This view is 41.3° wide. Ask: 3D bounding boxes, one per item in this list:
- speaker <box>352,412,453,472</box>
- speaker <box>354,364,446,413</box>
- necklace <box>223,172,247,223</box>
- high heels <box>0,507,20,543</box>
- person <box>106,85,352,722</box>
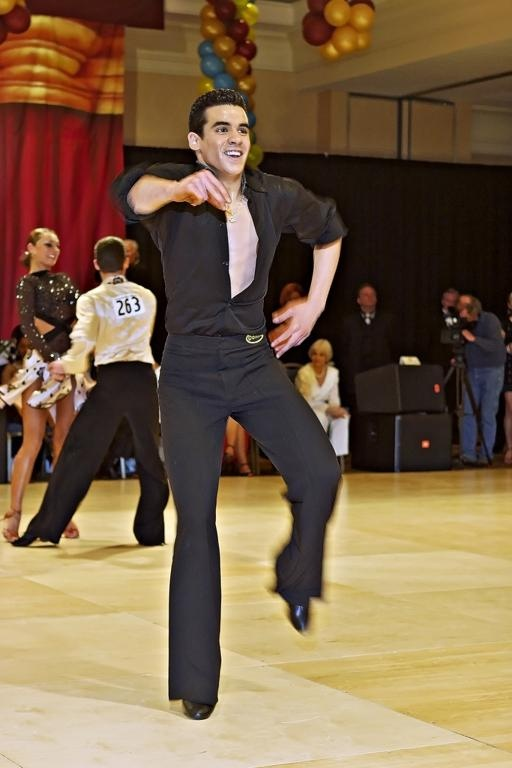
[{"bbox_3d":[1.842,0.690,8.659,0.810,0.713,1.232,2,0,36],"label":"speaker"},{"bbox_3d":[1.808,0.068,8.425,0.760,0.431,0.737,0,-6,-18],"label":"speaker"},{"bbox_3d":[-0.029,-0.410,1.500,0.039,0.038,0.131,13,49,12],"label":"necklace"},{"bbox_3d":[-1.572,0.898,4.336,0.126,0.212,0.077,3,-6,-9],"label":"high heels"},{"bbox_3d":[0.003,0.038,1.625,0.367,1.378,0.584,6,7,36],"label":"person"}]
